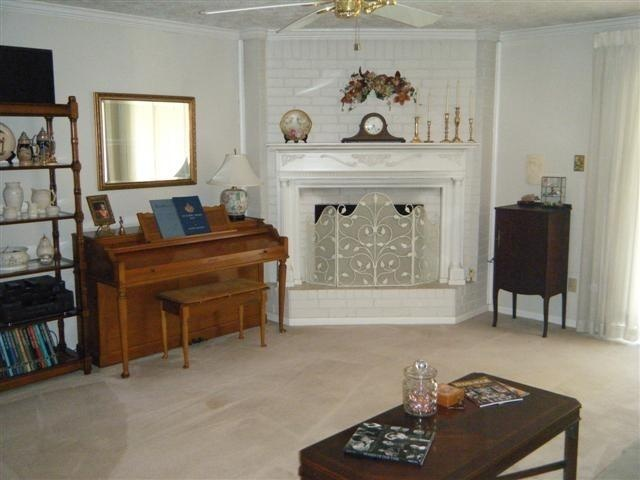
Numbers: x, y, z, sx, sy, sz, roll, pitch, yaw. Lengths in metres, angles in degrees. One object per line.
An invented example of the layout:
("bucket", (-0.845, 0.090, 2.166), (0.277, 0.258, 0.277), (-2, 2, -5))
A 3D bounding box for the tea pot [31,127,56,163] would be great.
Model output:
("tea pot", (-2.324, -0.781, 4.319), (0.163, 0.280, 0.192), (-8, 17, -27))

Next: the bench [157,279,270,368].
("bench", (-0.997, 0.752, 4.890), (0.512, 0.595, 1.004), (6, 9, 43))

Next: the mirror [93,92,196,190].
("mirror", (-1.774, -0.985, 5.082), (1.103, 0.877, 0.047), (-6, 9, -39))

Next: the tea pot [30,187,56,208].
("tea pot", (-2.333, -0.352, 4.342), (0.151, 0.156, 0.203), (2, 0, 36))

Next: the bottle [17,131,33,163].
("bottle", (-2.411, -0.746, 4.223), (0.110, 0.251, 0.227), (-2, 15, -8))

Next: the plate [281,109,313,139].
("plate", (-0.255, -1.225, 5.529), (0.345, 0.309, 0.084), (6, 14, -4))

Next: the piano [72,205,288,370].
("piano", (-1.361, 0.447, 4.757), (1.440, 1.008, 0.550), (-11, 17, -42))

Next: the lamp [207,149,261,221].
("lamp", (-0.900, -0.558, 5.385), (0.569, 0.650, 0.540), (7, 8, 29))

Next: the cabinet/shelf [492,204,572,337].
("cabinet/shelf", (2.232, 0.289, 5.477), (0.835, 1.328, 0.623), (7, 16, 24))

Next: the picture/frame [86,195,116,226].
("picture/frame", (-2.025, -0.266, 4.719), (0.252, 0.316, 0.037), (-22, 8, -38))

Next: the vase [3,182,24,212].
("vase", (-2.524, -0.351, 4.240), (0.142, 0.232, 0.269), (-9, 17, -31))

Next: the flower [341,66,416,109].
("flower", (0.644, -1.655, 5.676), (0.837, 0.441, 0.245), (2, 15, 9))
